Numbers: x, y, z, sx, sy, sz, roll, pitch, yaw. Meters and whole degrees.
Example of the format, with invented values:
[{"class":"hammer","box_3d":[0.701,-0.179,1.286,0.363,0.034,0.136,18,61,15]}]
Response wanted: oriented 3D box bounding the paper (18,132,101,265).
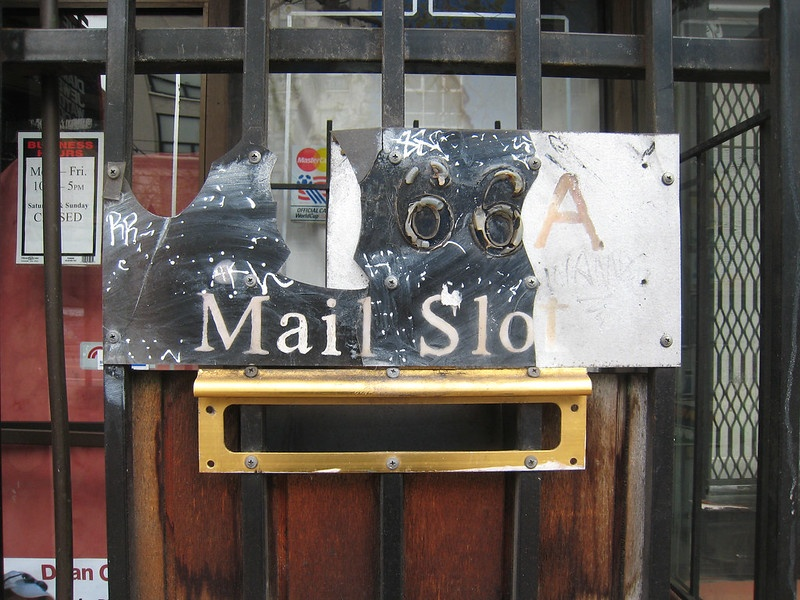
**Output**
[{"class":"paper","box_3d":[-1.957,-0.588,9.739,0.480,0.770,0.203,1,-2,-11]}]
